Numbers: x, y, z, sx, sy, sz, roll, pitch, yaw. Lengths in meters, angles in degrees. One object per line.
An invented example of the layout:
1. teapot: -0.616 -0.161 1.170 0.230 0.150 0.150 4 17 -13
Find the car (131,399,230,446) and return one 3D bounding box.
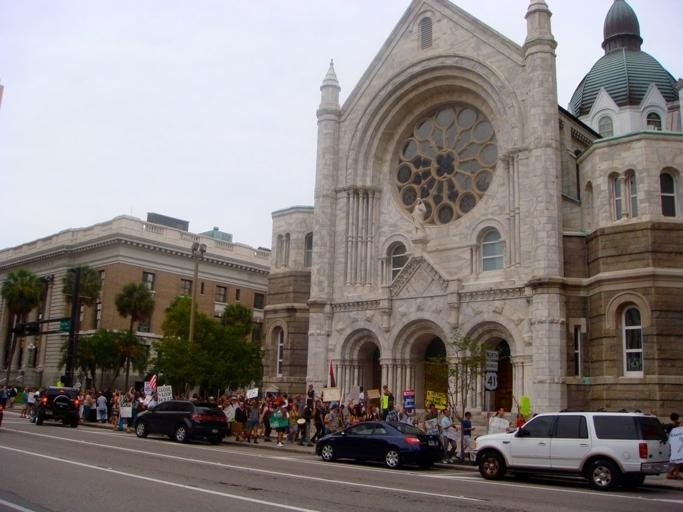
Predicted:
1. car: -7.617 7.784 30.043 4.362 1.669 2.055 -6 -17 36

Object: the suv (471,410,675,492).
1. suv: 7.554 6.022 20.711 5.309 2.303 2.681 -7 -20 35
